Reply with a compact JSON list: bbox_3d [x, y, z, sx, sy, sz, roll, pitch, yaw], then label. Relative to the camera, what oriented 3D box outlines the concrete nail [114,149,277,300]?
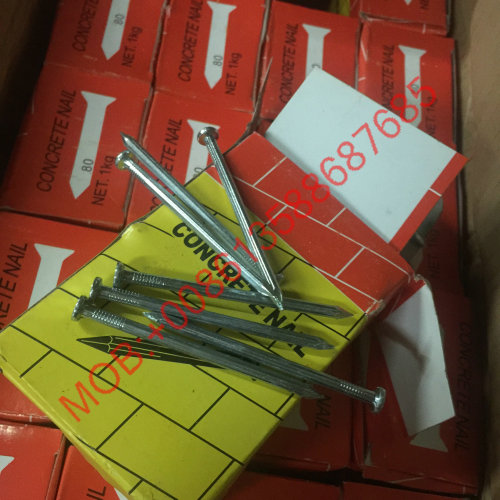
[{"bbox_3d":[-0.082,-0.035,0.971,0.337,0.049,0.048,41,71,5],"label":"concrete nail"}]

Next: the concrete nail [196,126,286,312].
[{"bbox_3d":[-0.012,-0.040,0.970,0.048,0.045,0.321,-25,74,3],"label":"concrete nail"}]

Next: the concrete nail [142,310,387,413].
[{"bbox_3d":[0.010,0.167,0.898,0.422,0.059,0.061,22,100,0],"label":"concrete nail"}]

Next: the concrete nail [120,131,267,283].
[{"bbox_3d":[-0.094,-0.065,1.000,0.358,0.051,0.053,42,65,6],"label":"concrete nail"}]

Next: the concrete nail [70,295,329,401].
[{"bbox_3d":[-0.086,0.146,0.874,0.344,0.050,0.050,18,100,-3],"label":"concrete nail"}]
